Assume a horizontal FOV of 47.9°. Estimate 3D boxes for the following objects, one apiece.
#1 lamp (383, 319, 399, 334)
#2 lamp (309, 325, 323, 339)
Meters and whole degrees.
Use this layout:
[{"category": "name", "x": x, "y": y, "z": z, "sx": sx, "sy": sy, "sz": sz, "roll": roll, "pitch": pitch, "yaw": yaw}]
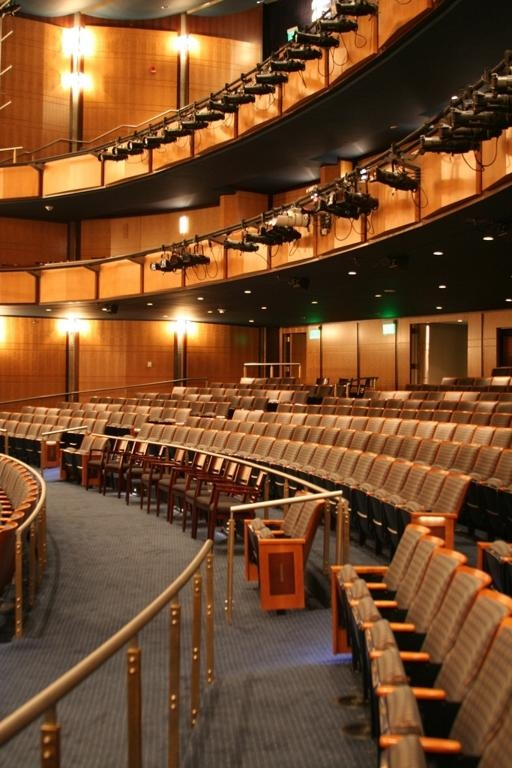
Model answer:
[{"category": "lamp", "x": 3.438, "y": -1.390, "z": 14.713, "sx": 0.349, "sy": 0.411, "sz": 0.271, "roll": -1, "pitch": -9, "yaw": 13}, {"category": "lamp", "x": 1.676, "y": -1.440, "z": 16.548, "sx": 0.427, "sy": 0.408, "sz": 0.288, "roll": 1, "pitch": 5, "yaw": 36}]
